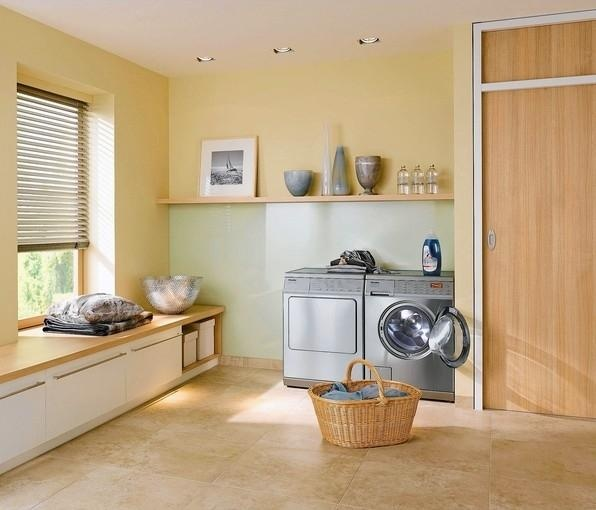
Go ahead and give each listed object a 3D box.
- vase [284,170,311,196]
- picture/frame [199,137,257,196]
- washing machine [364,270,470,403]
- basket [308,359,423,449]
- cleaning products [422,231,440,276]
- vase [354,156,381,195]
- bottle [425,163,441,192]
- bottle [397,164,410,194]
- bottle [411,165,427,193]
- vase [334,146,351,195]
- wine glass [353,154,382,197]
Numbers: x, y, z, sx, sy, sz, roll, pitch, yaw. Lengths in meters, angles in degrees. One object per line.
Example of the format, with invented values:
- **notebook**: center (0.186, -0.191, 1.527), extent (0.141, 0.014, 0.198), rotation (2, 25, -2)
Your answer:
- **vase**: center (-0.007, -0.617, 4.187), extent (0.212, 0.185, 0.224), rotation (0, 0, 0)
- **picture/frame**: center (-0.642, -0.829, 4.506), extent (0.546, 0.551, 0.057), rotation (1, -2, 19)
- **washing machine**: center (0.880, 0.635, 4.017), extent (0.836, 1.279, 0.855), rotation (0, -1, 26)
- **basket**: center (0.401, 0.883, 2.990), extent (0.612, 0.442, 0.508), rotation (2, -8, -17)
- **cleaning products**: center (1.041, 0.003, 3.711), extent (0.134, 0.309, 0.197), rotation (-1, 5, 14)
- **vase**: center (0.594, -0.672, 4.013), extent (0.195, 0.313, 0.079), rotation (-3, 5, -2)
- **bottle**: center (1.099, -0.624, 3.895), extent (0.105, 0.257, 0.219), rotation (-1, 5, 17)
- **bottle**: center (0.884, -0.633, 3.985), extent (0.104, 0.252, 0.189), rotation (-1, 5, 13)
- **bottle**: center (0.996, -0.627, 3.944), extent (0.111, 0.249, 0.192), rotation (-1, 5, 18)
- **vase**: center (0.391, -0.739, 4.150), extent (0.185, 0.438, 0.145), rotation (-4, 5, -17)
- **wine glass**: center (0.602, -0.694, 4.135), extent (0.285, 0.340, 0.280), rotation (-2, 4, -23)
